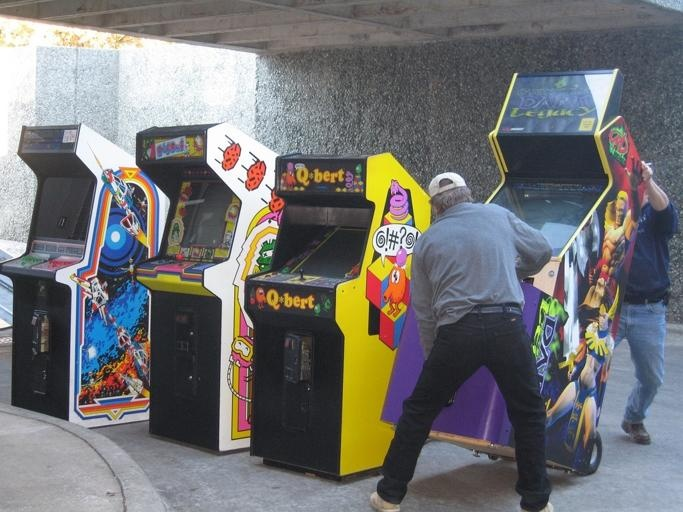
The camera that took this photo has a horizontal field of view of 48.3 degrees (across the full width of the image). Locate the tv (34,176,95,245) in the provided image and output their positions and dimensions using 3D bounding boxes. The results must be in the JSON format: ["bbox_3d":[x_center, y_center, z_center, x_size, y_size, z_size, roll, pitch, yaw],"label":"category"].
[{"bbox_3d":[-2.201,-0.369,6.020,0.590,0.544,0.140,9,-5,34],"label":"tv"}]

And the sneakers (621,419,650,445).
[{"bbox_3d":[2.076,1.256,5.352,0.088,0.104,0.229,-2,5,-17],"label":"sneakers"}]

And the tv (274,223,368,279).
[{"bbox_3d":[-0.090,-0.024,4.915,0.582,0.316,0.259,4,-1,28],"label":"tv"}]

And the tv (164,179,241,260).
[{"bbox_3d":[-0.976,-0.236,5.436,0.480,0.467,0.258,12,-7,39],"label":"tv"}]

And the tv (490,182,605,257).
[{"bbox_3d":[1.321,-0.324,4.865,0.492,0.298,0.685,-41,29,-29],"label":"tv"}]

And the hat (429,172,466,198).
[{"bbox_3d":[0.592,-0.403,4.392,0.202,0.142,0.326,-2,3,6],"label":"hat"}]
